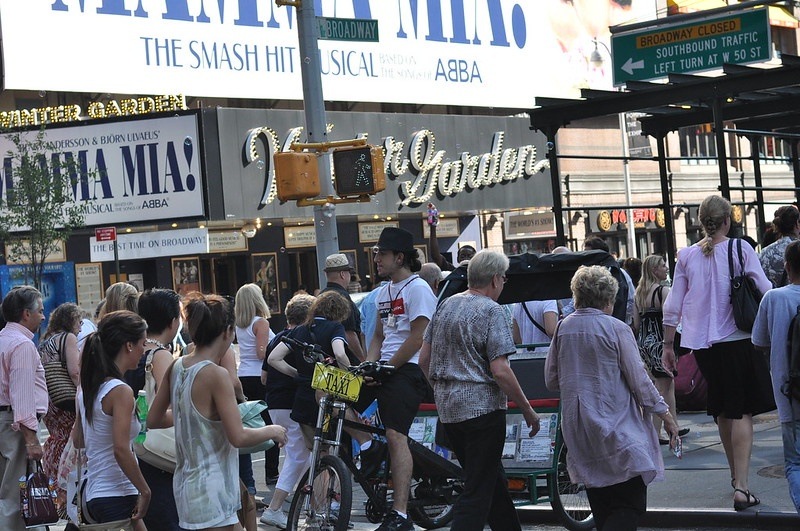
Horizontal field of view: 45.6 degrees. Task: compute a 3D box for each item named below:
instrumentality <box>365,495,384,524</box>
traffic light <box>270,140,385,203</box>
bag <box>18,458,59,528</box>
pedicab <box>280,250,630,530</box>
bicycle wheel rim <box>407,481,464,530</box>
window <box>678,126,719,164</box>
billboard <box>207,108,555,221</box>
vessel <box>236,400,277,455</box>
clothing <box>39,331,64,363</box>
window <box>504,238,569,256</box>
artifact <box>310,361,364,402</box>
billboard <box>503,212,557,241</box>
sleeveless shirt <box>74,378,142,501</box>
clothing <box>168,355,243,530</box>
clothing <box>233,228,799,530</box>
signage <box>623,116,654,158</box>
[{"bbox_3d":[-0.265,2.619,10.230,0.222,0.252,0.086,-1,-1,6],"label":"instrumentality"},{"bbox_3d":[-1.125,-1.462,15.084,1.496,1.127,0.825,-5,-1,-8],"label":"traffic light"},{"bbox_3d":[-4.014,2.524,10.562,0.384,0.748,0.401,-5,0,-25],"label":"bag"},{"bbox_3d":[0.609,1.448,10.211,2.128,3.375,3.524,-6,-13,34],"label":"pedicab"},{"bbox_3d":[0.404,2.679,10.668,0.605,0.569,0.630,-5,0,2],"label":"bicycle wheel rim"},{"bbox_3d":[13.826,-5.437,42.696,1.660,1.755,1.324,-4,6,-33],"label":"window"},{"bbox_3d":[0.145,-3.789,36.206,2.527,4.672,18.941,-5,0,42],"label":"billboard"},{"bbox_3d":[-1.375,1.558,9.235,0.476,0.493,0.259,-17,16,-42],"label":"vessel"},{"bbox_3d":[-4.072,0.969,11.145,0.280,0.305,0.165,-5,-12,29],"label":"clothing"},{"bbox_3d":[5.767,-0.868,42.159,1.760,0.525,2.103,-1,0,15],"label":"window"},{"bbox_3d":[-0.663,1.215,9.927,0.575,0.409,0.347,21,-7,-3],"label":"artifact"},{"bbox_3d":[5.345,-1.684,39.436,1.954,1.138,0.980,-1,-4,30],"label":"billboard"},{"bbox_3d":[-2.733,1.601,8.830,0.612,1.146,0.252,-5,0,21],"label":"sleeveless shirt"},{"bbox_3d":[-1.757,1.576,8.484,0.574,1.534,0.298,-5,0,-13],"label":"clothing"},{"bbox_3d":[3.259,1.289,12.064,3.778,3.144,5.719,-5,1,40],"label":"clothing"},{"bbox_3d":[10.596,-5.912,42.767,1.240,1.948,2.505,-5,1,15],"label":"signage"}]
